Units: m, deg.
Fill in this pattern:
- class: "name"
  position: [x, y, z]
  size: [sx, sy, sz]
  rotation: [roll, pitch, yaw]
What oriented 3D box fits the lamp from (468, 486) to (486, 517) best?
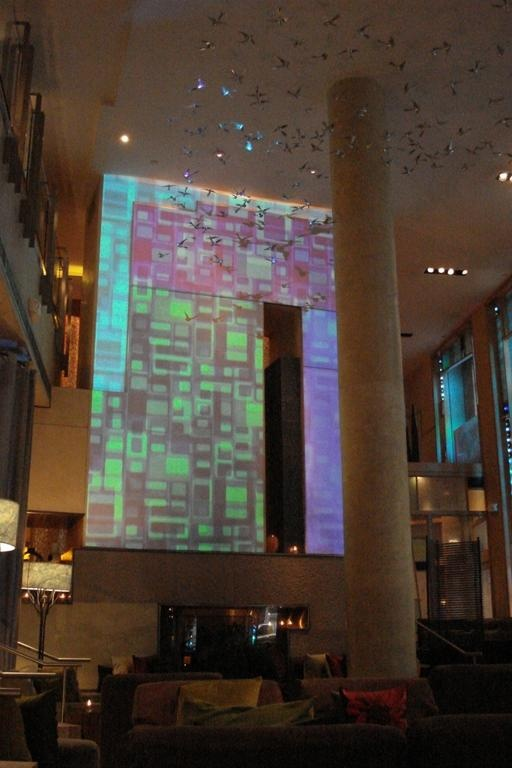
- class: "lamp"
  position: [3.754, 1.986, 12.053]
  size: [0.280, 0.435, 0.079]
  rotation: [-3, -16, 10]
